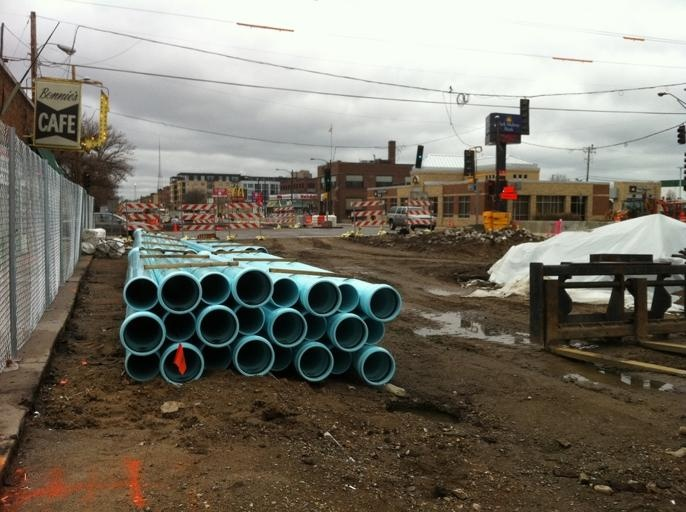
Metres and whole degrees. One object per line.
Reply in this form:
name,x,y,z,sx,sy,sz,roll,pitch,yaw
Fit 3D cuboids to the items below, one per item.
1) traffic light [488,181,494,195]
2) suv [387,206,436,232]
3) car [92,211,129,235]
traffic light,8.713,-3.981,31.796,0.301,0.731,0.560,2,11,7
suv,4.472,-2.478,35.800,2.058,1.286,4.051,-1,0,-17
car,-13.589,-1.877,31.762,2.853,1.382,1.226,10,14,44
